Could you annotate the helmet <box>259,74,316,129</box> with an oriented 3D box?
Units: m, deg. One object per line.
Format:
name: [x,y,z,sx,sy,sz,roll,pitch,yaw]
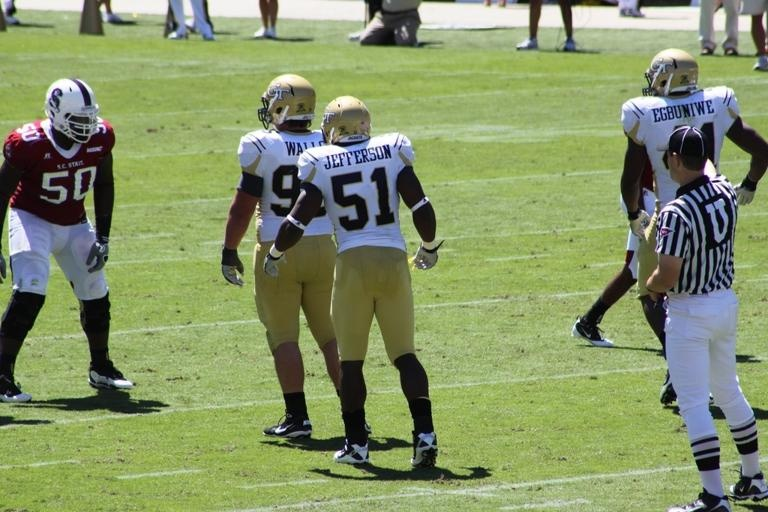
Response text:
helmet: [-0.678,-1.120,8.723,0.492,0.390,0.370,6,13,12]

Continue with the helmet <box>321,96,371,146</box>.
helmet: [-0.238,-0.939,8.336,0.376,0.370,0.459,-9,6,-18]

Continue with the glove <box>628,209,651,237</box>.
glove: [1.945,-0.241,9.037,0.084,0.191,0.166,23,3,42]

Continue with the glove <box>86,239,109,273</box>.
glove: [-2.181,-0.010,9.087,0.211,0.299,0.168,-4,-35,-11]

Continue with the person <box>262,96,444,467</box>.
person: [-0.163,0.163,8.134,1.079,2.441,0.787,0,11,4]

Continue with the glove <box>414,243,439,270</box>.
glove: [0.318,0.004,8.421,0.140,0.179,0.080,36,32,10]

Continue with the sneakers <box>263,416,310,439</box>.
sneakers: [-0.654,1.223,8.471,0.385,0.168,0.131,1,-4,5]

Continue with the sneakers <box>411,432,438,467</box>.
sneakers: [0.288,1.293,8.002,0.185,0.261,0.137,-3,11,-16]

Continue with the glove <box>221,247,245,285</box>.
glove: [-1.111,0.076,8.690,0.189,0.282,0.080,-9,18,-23]

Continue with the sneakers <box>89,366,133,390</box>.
sneakers: [-2.110,0.951,9.272,0.389,0.155,0.145,2,0,8]

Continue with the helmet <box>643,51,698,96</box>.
helmet: [2.173,-1.396,9.038,0.476,0.337,0.346,-1,11,11]

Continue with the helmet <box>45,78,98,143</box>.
helmet: [-2.339,-1.102,8.917,0.489,0.369,0.341,17,16,24]

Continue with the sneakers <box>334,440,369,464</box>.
sneakers: [-0.207,1.336,8.133,0.261,0.126,0.119,3,3,28]
